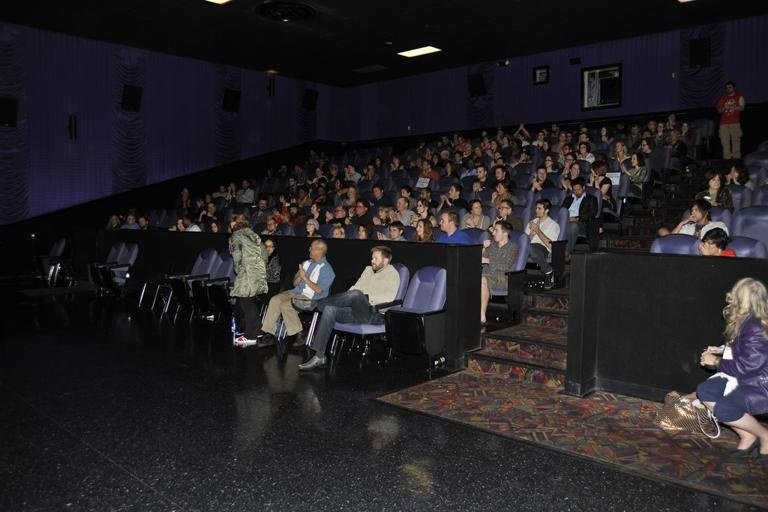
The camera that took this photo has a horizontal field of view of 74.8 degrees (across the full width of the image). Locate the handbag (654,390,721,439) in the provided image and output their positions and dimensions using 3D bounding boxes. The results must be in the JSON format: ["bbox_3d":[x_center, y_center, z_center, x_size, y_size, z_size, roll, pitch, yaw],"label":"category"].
[{"bbox_3d":[2.739,1.424,4.531,0.448,0.223,0.327,-1,7,34],"label":"handbag"}]

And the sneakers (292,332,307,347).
[{"bbox_3d":[-1.175,1.130,6.893,0.210,0.185,0.227,0,10,2],"label":"sneakers"}]

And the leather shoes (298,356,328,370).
[{"bbox_3d":[-0.847,1.261,5.972,0.285,0.118,0.148,3,-4,-26],"label":"leather shoes"}]

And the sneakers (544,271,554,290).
[{"bbox_3d":[2.182,0.302,6.583,0.212,0.227,0.086,-8,13,-35],"label":"sneakers"}]
